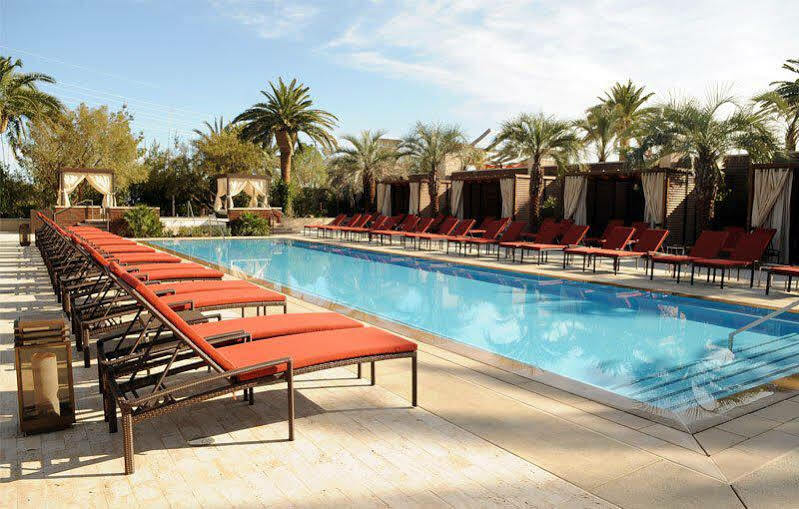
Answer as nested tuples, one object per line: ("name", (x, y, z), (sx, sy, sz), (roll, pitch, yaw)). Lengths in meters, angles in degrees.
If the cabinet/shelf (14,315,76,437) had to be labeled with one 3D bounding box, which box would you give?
("cabinet/shelf", (-3.130, 1.056, 4.404), (0.431, 0.925, 0.412), (-7, 12, -36))
